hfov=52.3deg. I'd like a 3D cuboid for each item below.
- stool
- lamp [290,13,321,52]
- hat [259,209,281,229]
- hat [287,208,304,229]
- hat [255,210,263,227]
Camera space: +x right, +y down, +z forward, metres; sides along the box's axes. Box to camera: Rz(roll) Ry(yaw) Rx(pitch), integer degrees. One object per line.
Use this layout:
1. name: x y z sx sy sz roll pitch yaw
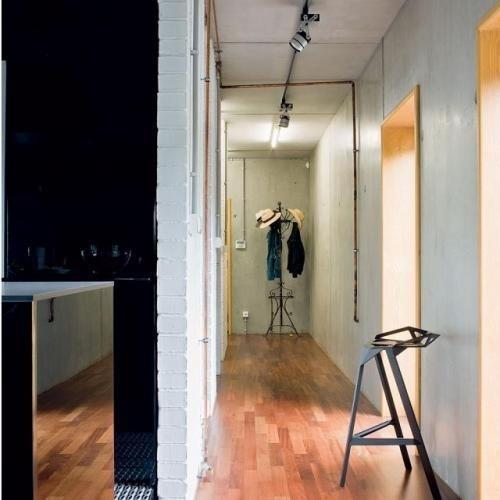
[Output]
1. stool: 0.730 0.830 2.984 0.524 1.277 0.641 0 -4 10
2. lamp: 0.369 -1.439 3.382 0.113 0.261 0.066 14 3 6
3. hat: 0.277 -0.470 7.373 0.348 0.248 0.442 -1 0 2
4. hat: 0.680 -0.498 7.599 0.254 0.281 0.783 -1 0 6
5. hat: 0.136 -0.476 7.538 0.058 0.222 0.157 6 -6 -5
